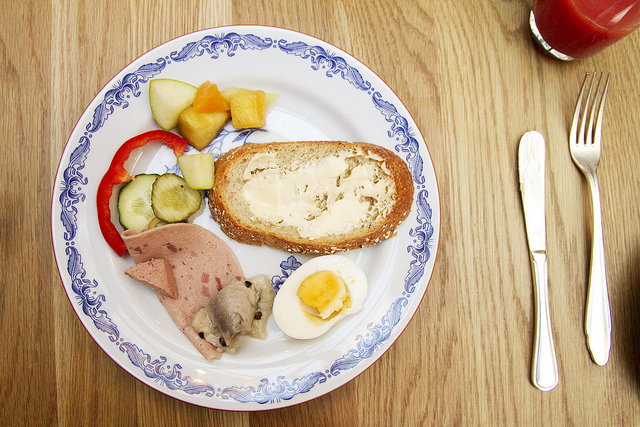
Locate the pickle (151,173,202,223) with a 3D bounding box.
[{"bbox_3d":[-0.739,-0.073,3.390,0.207,0.062,0.250,3,86,-15],"label":"pickle"}]

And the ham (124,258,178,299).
[{"bbox_3d":[-0.826,0.302,3.384,0.277,0.083,0.153,23,84,-1],"label":"ham"}]

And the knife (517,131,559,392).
[{"bbox_3d":[1.143,0.243,3.506,0.137,0.073,1.351,-3,86,-3],"label":"knife"}]

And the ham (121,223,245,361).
[{"bbox_3d":[-0.635,0.291,3.419,0.435,0.137,0.850,-27,97,-12],"label":"ham"}]
